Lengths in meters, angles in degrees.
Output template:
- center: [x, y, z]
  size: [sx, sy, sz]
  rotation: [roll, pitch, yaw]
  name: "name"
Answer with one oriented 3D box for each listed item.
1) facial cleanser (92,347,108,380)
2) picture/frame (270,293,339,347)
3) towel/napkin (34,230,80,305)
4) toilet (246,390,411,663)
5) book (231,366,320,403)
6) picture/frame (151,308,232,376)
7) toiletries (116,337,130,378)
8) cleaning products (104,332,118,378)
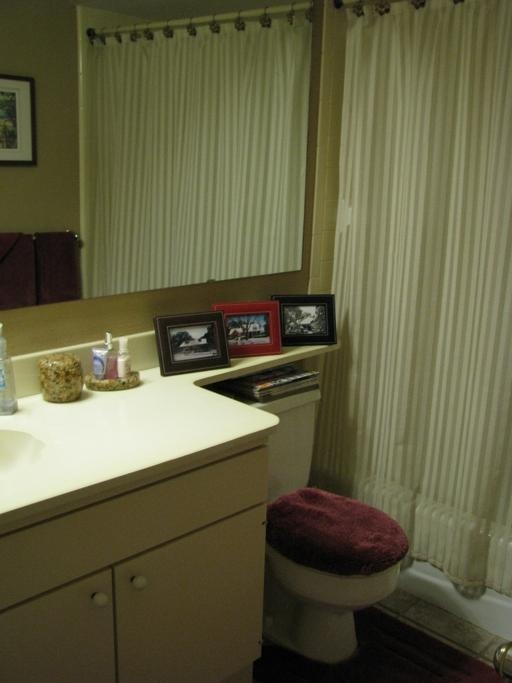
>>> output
- center: [-0.396, 0.057, 1.308]
  size: [0.052, 0.077, 0.022]
  rotation: [6, 9, 35]
  name: "facial cleanser"
- center: [0.158, -0.068, 1.757]
  size: [0.162, 0.146, 0.011]
  rotation: [-3, 1, -24]
  name: "picture/frame"
- center: [-0.481, -0.183, 1.239]
  size: [0.025, 0.239, 0.130]
  rotation: [22, 25, 38]
  name: "towel/napkin"
- center: [0.195, 0.674, 1.486]
  size: [0.383, 0.419, 0.331]
  rotation: [15, 15, 40]
  name: "toilet"
- center: [0.057, 0.134, 1.613]
  size: [0.140, 0.034, 0.139]
  rotation: [-16, 22, -39]
  name: "book"
- center: [-0.186, 0.010, 1.451]
  size: [0.167, 0.156, 0.018]
  rotation: [-7, 1, -31]
  name: "picture/frame"
- center: [-0.347, 0.039, 1.352]
  size: [0.030, 0.099, 0.121]
  rotation: [-1, 8, -15]
  name: "toiletries"
- center: [-0.373, 0.046, 1.327]
  size: [0.038, 0.132, 0.039]
  rotation: [-4, 12, -19]
  name: "cleaning products"
